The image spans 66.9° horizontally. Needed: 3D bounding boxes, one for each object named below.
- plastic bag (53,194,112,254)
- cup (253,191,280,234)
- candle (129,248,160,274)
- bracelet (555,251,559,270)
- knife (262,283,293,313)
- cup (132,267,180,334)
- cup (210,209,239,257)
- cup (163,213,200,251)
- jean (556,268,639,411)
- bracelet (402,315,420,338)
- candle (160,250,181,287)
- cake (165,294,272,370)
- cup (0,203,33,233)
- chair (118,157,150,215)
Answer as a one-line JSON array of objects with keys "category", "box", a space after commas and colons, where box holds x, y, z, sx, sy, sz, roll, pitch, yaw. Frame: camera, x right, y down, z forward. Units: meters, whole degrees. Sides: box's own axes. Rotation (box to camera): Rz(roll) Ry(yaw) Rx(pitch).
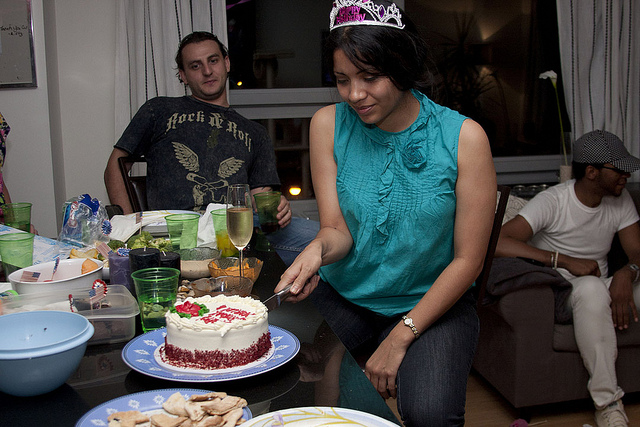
[{"category": "plastic bag", "box": [-0.904, 0.038, 1.805, 0.175, 0.200, 0.165, 22, 21, 26]}, {"category": "cup", "box": [-0.211, -0.004, 1.975, 0.146, 0.186, 0.141, -2, 4, 0]}, {"category": "candle", "box": [-0.522, 0.135, 1.434, 0.070, 0.085, 0.073, 3, 9, 13]}, {"category": "bracelet", "box": [1.303, 0.261, 2.667, 0.013, 0.103, 0.063, 5, 12, 28]}, {"category": "knife", "box": [-0.125, 0.254, 1.440, 0.113, 0.019, 0.013, -46, -8, -9]}, {"category": "cup", "box": [-0.457, 0.252, 1.361, 0.121, 0.157, 0.125, 5, -1, 0]}, {"category": "cup", "box": [-0.320, 0.075, 1.784, 0.131, 0.195, 0.144, -6, -3, 0]}, {"category": "cup", "box": [-0.494, 0.064, 1.737, 0.118, 0.127, 0.121, 0, 4, 0]}, {"category": "jean", "box": [1.394, 0.633, 2.513, 0.259, 0.651, 0.188, -9, -5, -23]}, {"category": "bracelet", "box": [0.302, 0.377, 1.601, 0.022, 0.060, 0.055, -30, 29, -4]}, {"category": "candle", "box": [-0.455, 0.173, 1.459, 0.067, 0.077, 0.067, -2, 7, -34]}, {"category": "cake", "box": [-0.275, 0.300, 1.300, 0.253, 0.125, 0.265, 4, 8, 37]}, {"category": "cup", "box": [-1.146, 0.010, 1.831, 0.121, 0.148, 0.104, -1, -3, -13]}, {"category": "chair", "box": [-1.073, -0.180, 2.807, 0.154, 0.304, 0.226, -5, 12, -21]}]
